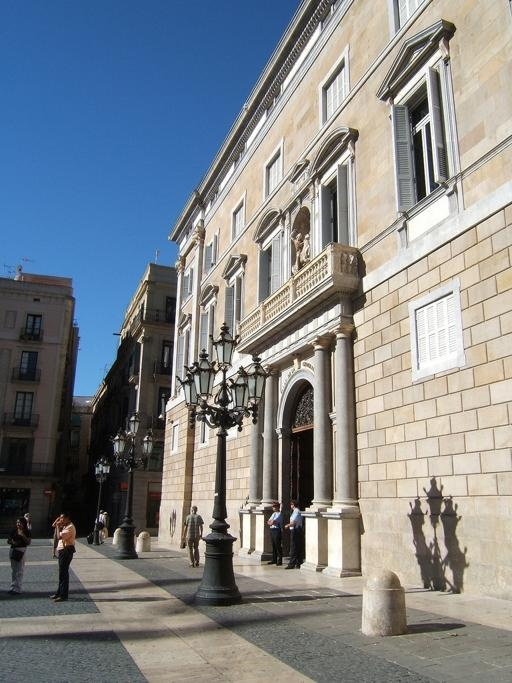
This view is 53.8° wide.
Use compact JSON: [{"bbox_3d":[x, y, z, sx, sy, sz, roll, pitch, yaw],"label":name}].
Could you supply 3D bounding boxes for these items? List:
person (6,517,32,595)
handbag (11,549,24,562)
[{"bbox_3d":[-4.734,4.211,9.974,0.384,1.373,1.807,9,-18,-21],"label":"person"},{"bbox_3d":[-4.499,4.035,9.525,0.219,0.161,0.040,-11,-40,-6],"label":"handbag"}]
